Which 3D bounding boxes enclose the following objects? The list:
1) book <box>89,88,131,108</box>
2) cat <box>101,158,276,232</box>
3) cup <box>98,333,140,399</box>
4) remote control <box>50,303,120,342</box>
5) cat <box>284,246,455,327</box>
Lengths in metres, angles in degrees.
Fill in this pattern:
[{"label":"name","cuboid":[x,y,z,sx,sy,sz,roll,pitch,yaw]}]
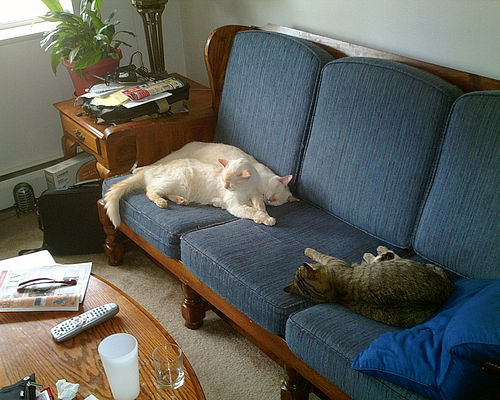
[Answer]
[{"label":"book","cuboid":[-0.765,-0.559,2.182,0.152,0.037,0.146,21,39,29]},{"label":"cat","cuboid":[-0.269,-0.081,1.896,0.846,0.274,0.476,6,30,4]},{"label":"cup","cuboid":[-0.358,0.458,1.092,0.099,0.156,0.152,-8,31,-18]},{"label":"remote control","cuboid":[-0.539,0.400,1.284,0.222,0.030,0.074,-19,36,-31]},{"label":"cat","cuboid":[0.395,0.266,1.404,0.484,0.231,0.420,-11,25,-25]}]
